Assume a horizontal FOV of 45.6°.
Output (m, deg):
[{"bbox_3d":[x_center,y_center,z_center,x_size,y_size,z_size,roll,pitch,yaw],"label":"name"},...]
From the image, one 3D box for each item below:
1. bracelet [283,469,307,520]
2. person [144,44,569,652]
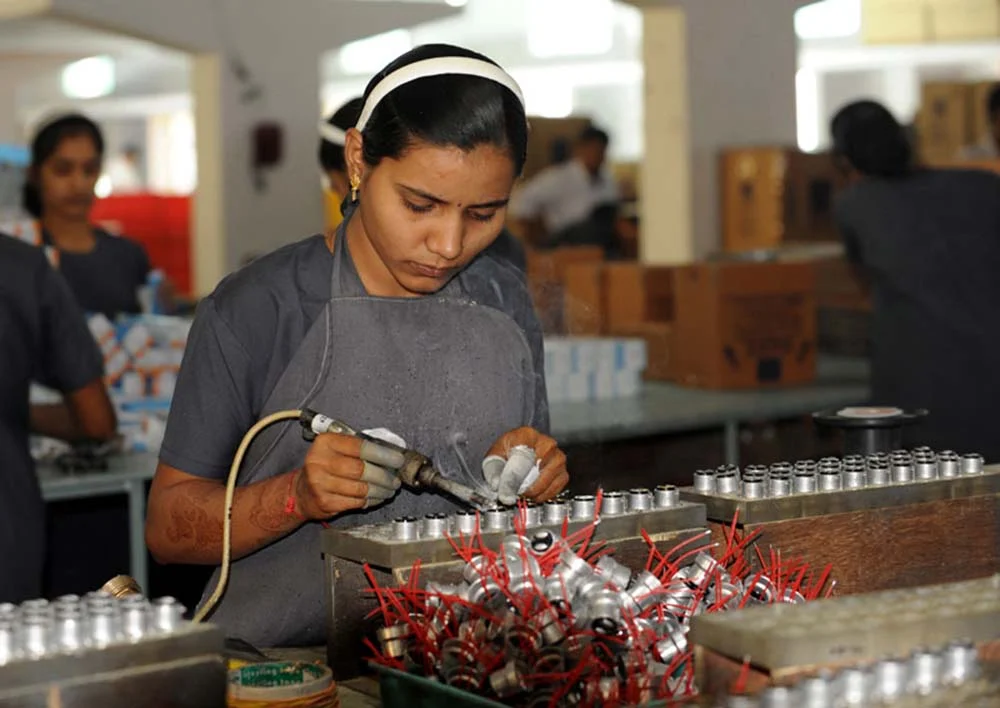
[{"bbox_3d":[-0.418,0.292,2.415,0.027,0.084,0.059,2,3,-9],"label":"bracelet"},{"bbox_3d":[-0.263,-0.013,2.549,0.940,1.245,0.491,-4,3,-27],"label":"person"}]
